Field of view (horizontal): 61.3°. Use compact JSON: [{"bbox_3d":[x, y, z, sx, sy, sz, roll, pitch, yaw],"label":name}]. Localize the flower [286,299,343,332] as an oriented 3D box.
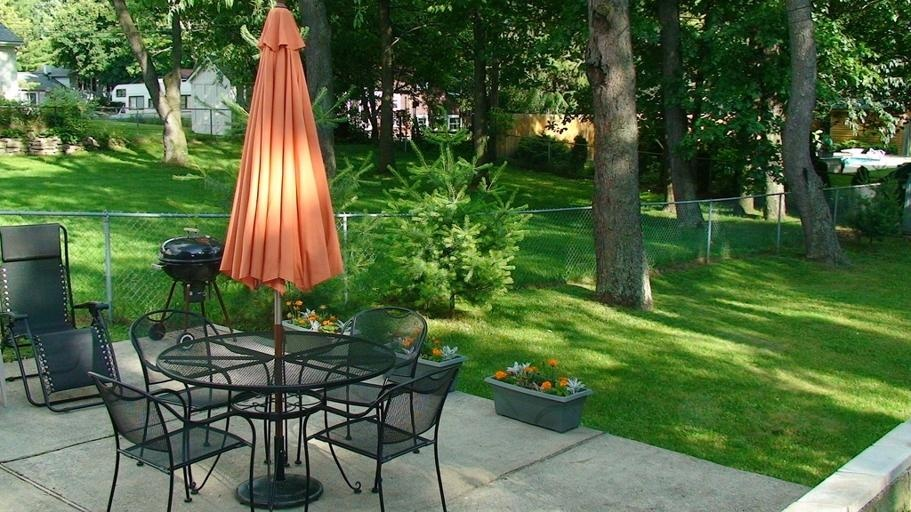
[{"bbox_3d":[-2.752,1.289,15.507,0.860,0.272,0.797,1,7,-43],"label":"flower"}]
